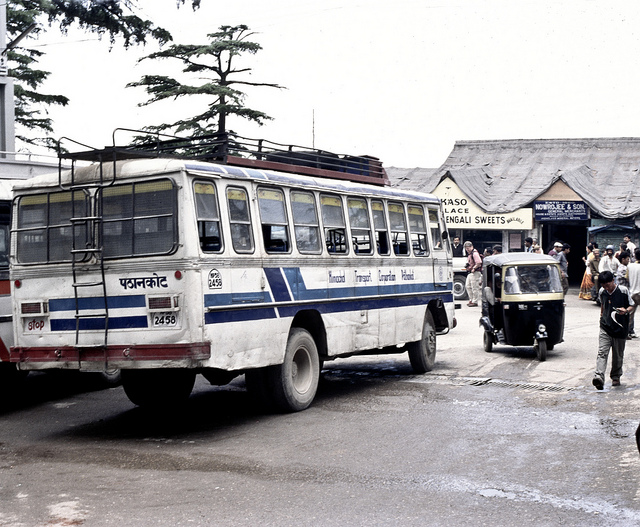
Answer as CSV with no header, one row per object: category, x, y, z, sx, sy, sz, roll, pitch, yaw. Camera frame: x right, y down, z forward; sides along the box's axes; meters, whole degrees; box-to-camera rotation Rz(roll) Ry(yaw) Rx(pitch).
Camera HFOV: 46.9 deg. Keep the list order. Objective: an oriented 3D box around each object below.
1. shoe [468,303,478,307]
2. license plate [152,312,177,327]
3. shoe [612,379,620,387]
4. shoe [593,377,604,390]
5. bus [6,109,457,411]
shoe,5.697,1.572,27.591,0.357,0.138,0.127,3,-2,-31
license plate,-1.827,0.671,8.723,0.324,0.114,0.060,-1,1,30
shoe,4.782,1.947,11.951,0.079,0.107,0.114,1,4,13
shoe,4.288,1.878,11.416,0.094,0.104,0.252,-13,-41,20
bus,-0.218,0.257,11.891,8.647,3.740,2.961,-2,1,-44
